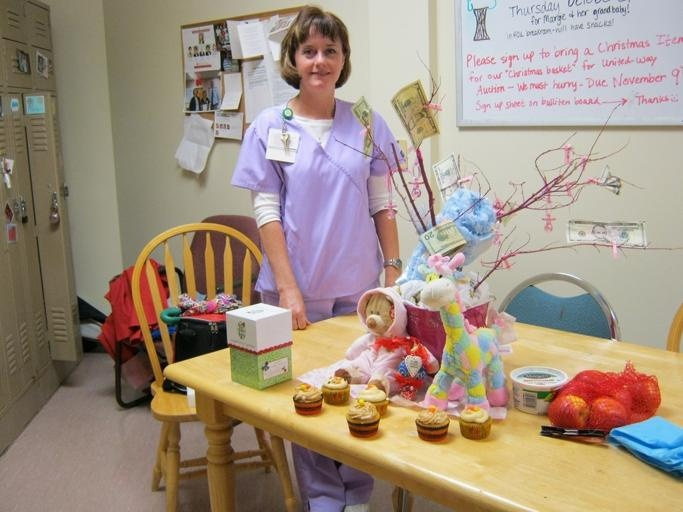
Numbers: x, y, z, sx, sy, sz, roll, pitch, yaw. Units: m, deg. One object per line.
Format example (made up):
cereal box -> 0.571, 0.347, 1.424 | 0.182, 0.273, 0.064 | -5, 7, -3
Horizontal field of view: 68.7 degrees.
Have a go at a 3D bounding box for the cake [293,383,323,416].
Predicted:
cake -> -0.070, 0.325, 1.149 | 0.056, 0.055, 0.059 | -1, 1, -12

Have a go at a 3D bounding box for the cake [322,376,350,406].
cake -> -0.006, 0.318, 1.193 | 0.056, 0.056, 0.060 | -1, -2, -2

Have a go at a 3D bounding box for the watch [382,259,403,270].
watch -> 0.197, 0.043, 1.879 | 0.053, 0.042, 0.060 | -2, -3, 22

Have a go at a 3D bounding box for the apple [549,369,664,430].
apple -> 0.574, 0.304, 1.080 | 0.175, 0.065, 0.129 | -19, 11, -27

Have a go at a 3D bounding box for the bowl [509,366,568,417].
bowl -> 0.459, 0.322, 1.179 | 0.123, 0.081, 0.130 | 0, 1, 0

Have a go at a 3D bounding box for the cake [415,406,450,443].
cake -> 0.193, 0.352, 1.044 | 0.059, 0.059, 0.063 | -2, 2, -2

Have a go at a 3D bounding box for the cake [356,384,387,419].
cake -> 0.075, 0.327, 1.143 | 0.059, 0.058, 0.064 | -3, -2, -1

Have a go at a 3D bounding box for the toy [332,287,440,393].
toy -> 0.109, 0.218, 1.357 | 0.212, 0.314, 0.320 | 4, -7, -44

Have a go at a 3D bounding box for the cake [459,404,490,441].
cake -> 0.280, 0.350, 1.043 | 0.057, 0.057, 0.060 | 2, 6, 16

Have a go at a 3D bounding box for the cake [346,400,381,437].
cake -> 0.048, 0.349, 1.066 | 0.062, 0.064, 0.067 | -1, 2, -2
